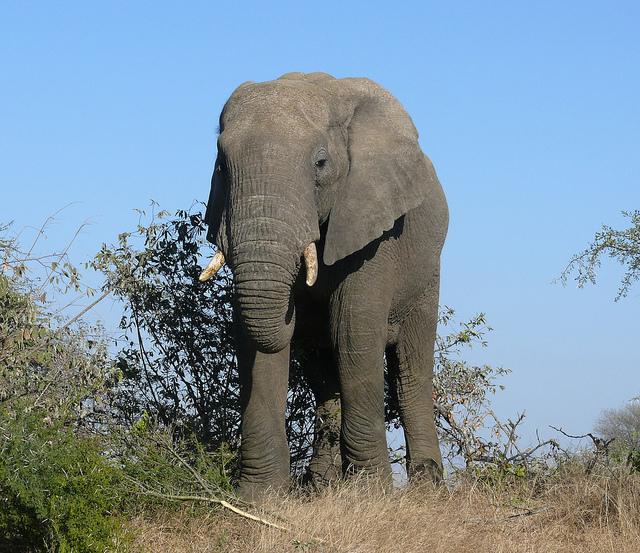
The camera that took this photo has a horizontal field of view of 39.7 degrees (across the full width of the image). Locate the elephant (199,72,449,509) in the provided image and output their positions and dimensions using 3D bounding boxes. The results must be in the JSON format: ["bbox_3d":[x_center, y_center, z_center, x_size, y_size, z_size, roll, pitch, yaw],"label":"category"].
[{"bbox_3d":[0.199,0.115,8.061,1.577,3.828,3.239,6,0,33],"label":"elephant"}]
